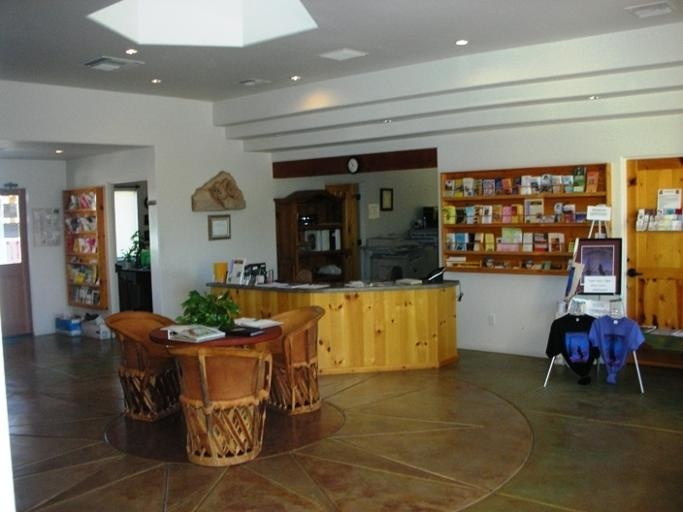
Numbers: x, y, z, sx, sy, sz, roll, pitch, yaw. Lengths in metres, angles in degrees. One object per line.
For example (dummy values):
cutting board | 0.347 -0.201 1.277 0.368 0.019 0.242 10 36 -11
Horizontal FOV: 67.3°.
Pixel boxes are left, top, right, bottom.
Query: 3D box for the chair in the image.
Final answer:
chair | -1.319 1.291 5.160 1.686 0.820 1.411 3 5 39

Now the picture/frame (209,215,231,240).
picture/frame | -2.179 -0.512 9.039 0.032 0.461 0.466 -1 0 38

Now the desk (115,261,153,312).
desk | -3.690 0.548 9.319 0.833 0.771 0.658 7 9 31

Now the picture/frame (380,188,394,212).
picture/frame | 0.998 -1.261 11.457 0.037 0.535 0.540 1 3 31

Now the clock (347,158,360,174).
clock | 0.194 -1.521 8.710 0.216 0.218 0.221 0 -1 45

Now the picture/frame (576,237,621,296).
picture/frame | 3.262 0.149 6.441 0.726 0.967 0.037 0 -7 24
